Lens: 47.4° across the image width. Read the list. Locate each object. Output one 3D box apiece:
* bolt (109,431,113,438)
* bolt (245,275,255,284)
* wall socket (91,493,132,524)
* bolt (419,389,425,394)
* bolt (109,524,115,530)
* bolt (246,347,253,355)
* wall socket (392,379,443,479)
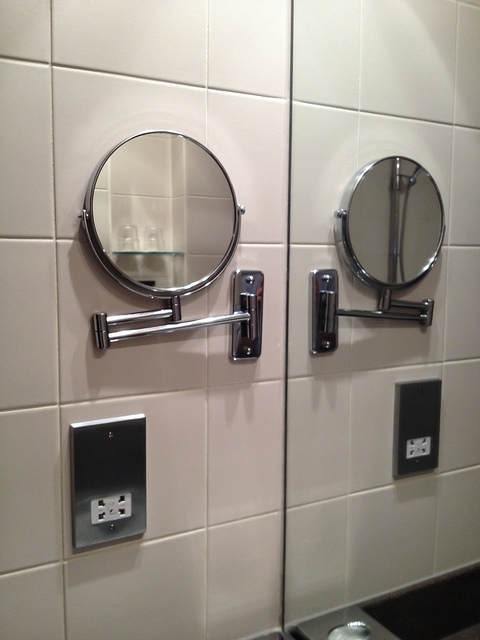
[{"bbox_3d":[-0.213,0.188,0.893,0.005,0.009,0.001,-3,4,-24],"label":"bolt"},{"bbox_3d":[0.019,-0.074,1.012,0.012,0.014,0.006,-34,17,-23],"label":"bolt"},{"bbox_3d":[-0.214,0.311,0.903,0.070,0.042,0.004,-5,5,-32],"label":"wall socket"},{"bbox_3d":[0.281,0.109,0.836,0.001,0.008,0.006,-1,7,-38],"label":"bolt"},{"bbox_3d":[-0.214,0.342,0.905,0.006,0.009,0.002,15,-14,-30],"label":"bolt"},{"bbox_3d":[0.018,0.058,1.024,0.015,0.014,0.002,-5,5,-40],"label":"bolt"},{"bbox_3d":[0.274,0.171,0.842,0.015,0.177,0.106,-2,4,-20],"label":"wall socket"}]
